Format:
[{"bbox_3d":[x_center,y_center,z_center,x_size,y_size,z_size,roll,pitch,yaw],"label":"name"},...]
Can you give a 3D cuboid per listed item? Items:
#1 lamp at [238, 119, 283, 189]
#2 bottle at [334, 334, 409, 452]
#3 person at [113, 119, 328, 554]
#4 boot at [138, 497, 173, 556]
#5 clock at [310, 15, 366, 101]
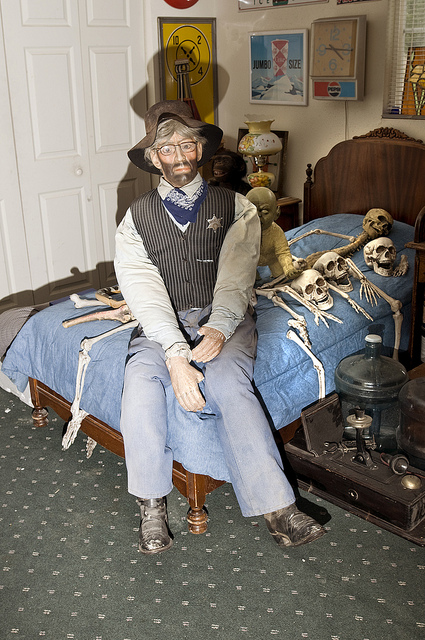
[{"bbox_3d":[0.294,-1.003,3.012,0.250,0.405,0.246,1,26,10],"label":"lamp"},{"bbox_3d":[0.446,0.213,1.415,0.208,0.324,0.203,-3,21,1],"label":"bottle"},{"bbox_3d":[-0.037,-0.006,1.500,0.521,1.202,0.796,-4,13,-6],"label":"person"},{"bbox_3d":[-0.172,0.564,1.433,0.090,0.139,0.207,-7,1,-6],"label":"boot"},{"bbox_3d":[0.726,-1.510,2.896,0.114,0.464,0.358,-14,17,-41],"label":"clock"}]
